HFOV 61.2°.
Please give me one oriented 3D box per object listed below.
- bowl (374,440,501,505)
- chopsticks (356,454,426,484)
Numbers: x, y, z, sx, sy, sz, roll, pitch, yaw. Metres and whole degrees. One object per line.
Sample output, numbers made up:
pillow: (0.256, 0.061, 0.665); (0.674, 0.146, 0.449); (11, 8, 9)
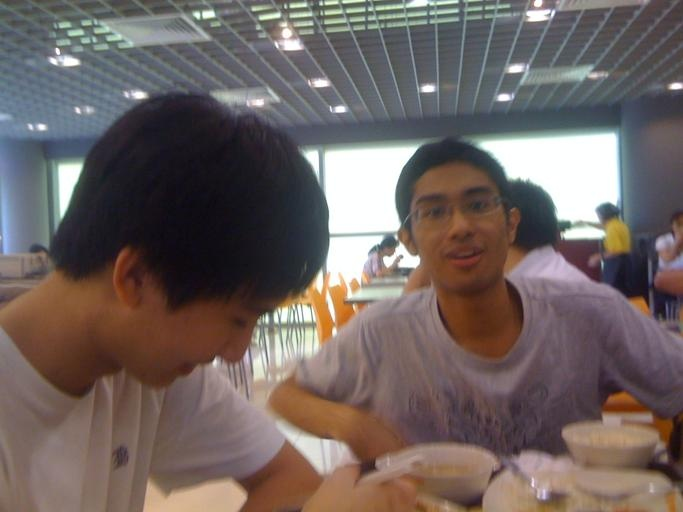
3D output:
bowl: (0.154, 0.304, 0.829); (0.104, 0.040, 0.083); (-7, 14, 24)
chopsticks: (0.076, 0.319, 0.857); (0.071, 0.018, 0.020); (-23, 13, 15)
